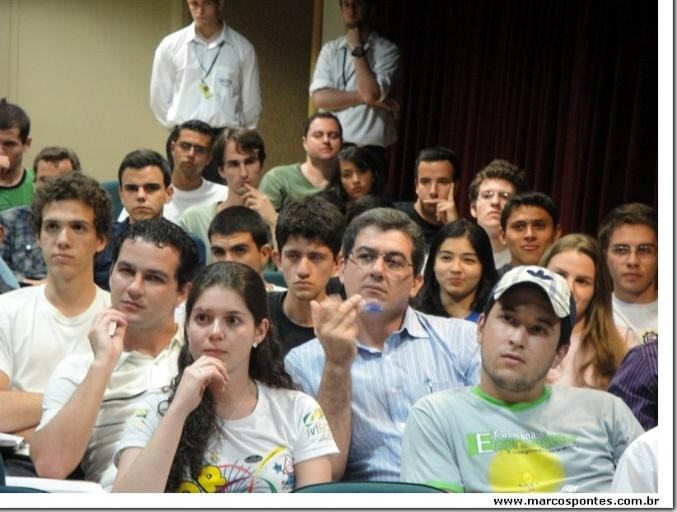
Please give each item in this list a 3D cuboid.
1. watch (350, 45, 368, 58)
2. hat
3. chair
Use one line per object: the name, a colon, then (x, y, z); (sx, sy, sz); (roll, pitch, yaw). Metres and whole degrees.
watch: (0.117, -1.248, 4.253); (0.069, 0.076, 0.024); (-3, 7, 13)
hat: (0.701, 0.167, 2.565); (0.301, 0.196, 0.431); (7, -9, 15)
chair: (0.297, 0.317, 2.729); (1.328, 0.983, 0.657); (1, 9, 10)
